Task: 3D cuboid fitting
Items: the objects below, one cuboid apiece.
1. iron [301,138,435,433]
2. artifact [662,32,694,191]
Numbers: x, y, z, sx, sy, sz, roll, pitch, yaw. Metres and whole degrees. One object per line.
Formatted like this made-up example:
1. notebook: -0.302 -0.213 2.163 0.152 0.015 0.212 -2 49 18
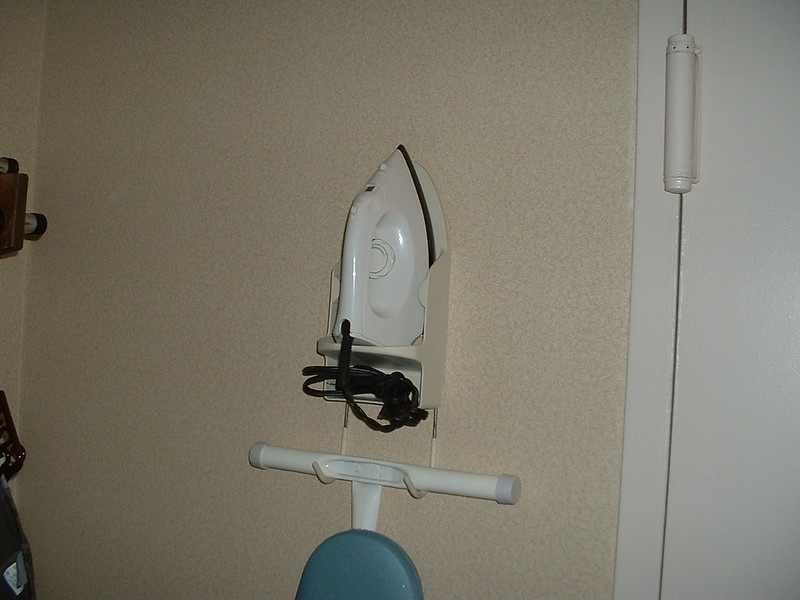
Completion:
1. iron: -0.030 -0.030 1.534 0.245 0.275 0.525 0 -85 -9
2. artifact: 0.547 -0.362 1.496 0.065 0.055 0.294 1 -89 12
